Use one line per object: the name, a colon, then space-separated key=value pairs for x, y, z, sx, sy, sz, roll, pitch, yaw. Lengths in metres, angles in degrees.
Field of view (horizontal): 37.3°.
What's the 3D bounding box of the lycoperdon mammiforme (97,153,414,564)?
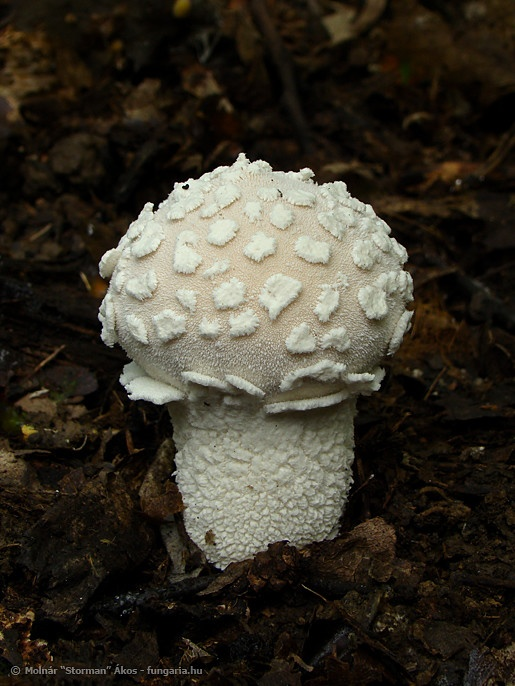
lycoperdon mammiforme: x=0.120 y=0.133 z=3.927 sx=1.433 sy=1.729 sz=1.895 roll=6 pitch=104 yaw=41
